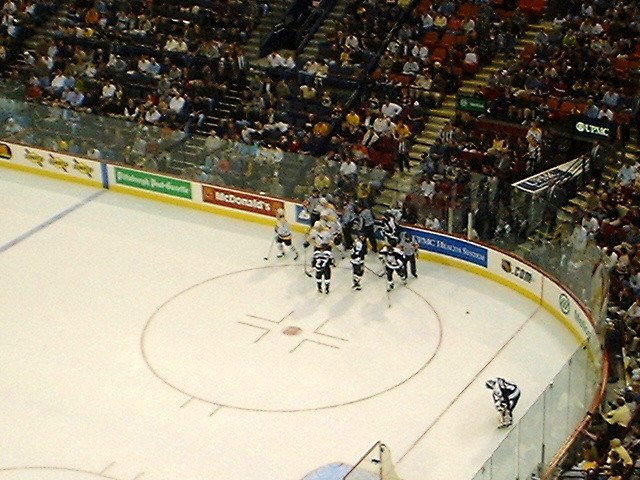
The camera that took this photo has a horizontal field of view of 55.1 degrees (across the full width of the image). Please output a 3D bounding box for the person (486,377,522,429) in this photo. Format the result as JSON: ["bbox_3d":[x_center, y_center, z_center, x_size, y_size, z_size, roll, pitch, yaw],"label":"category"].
[{"bbox_3d":[3.765,3.401,12.629,0.680,0.999,0.623,-1,35,17],"label":"person"}]

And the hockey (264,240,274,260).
[{"bbox_3d":[-1.599,0.333,18.969,0.244,0.478,0.893,11,10,-2],"label":"hockey"}]

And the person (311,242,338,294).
[{"bbox_3d":[0.049,0.833,16.696,0.587,0.380,1.529,-2,55,-1],"label":"person"}]

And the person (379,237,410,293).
[{"bbox_3d":[2.017,0.655,16.921,0.658,1.621,0.512,-1,36,15],"label":"person"}]
